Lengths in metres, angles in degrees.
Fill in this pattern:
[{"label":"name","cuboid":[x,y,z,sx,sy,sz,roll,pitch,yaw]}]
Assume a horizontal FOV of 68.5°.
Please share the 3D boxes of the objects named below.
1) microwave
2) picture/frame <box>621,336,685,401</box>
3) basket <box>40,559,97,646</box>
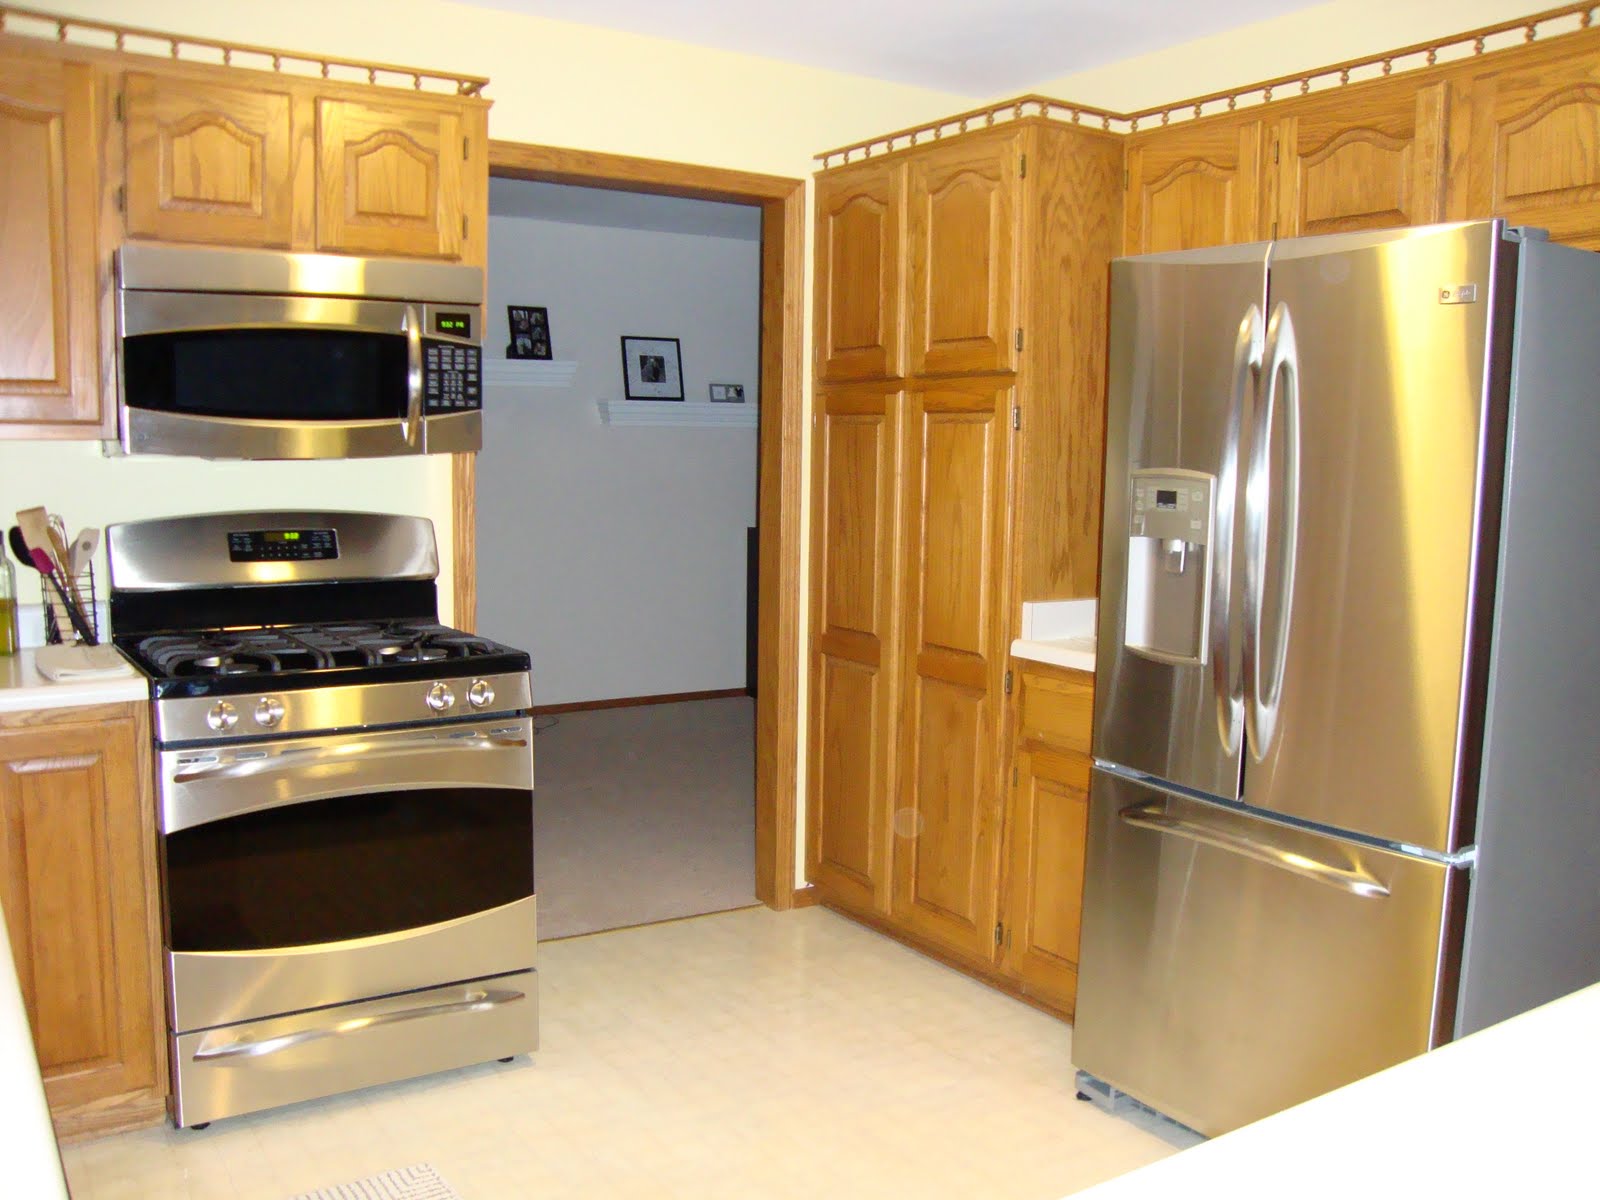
[{"label":"microwave","cuboid":[-1.305,-0.611,3.041,0.902,0.550,0.541,-3,6,-37]},{"label":"picture/frame","cuboid":[-0.905,-1.381,7.054,0.435,0.429,0.030,1,-2,-40]},{"label":"basket","cuboid":[-1.911,-0.007,3.053,0.124,0.249,0.110,-5,10,-31]}]
